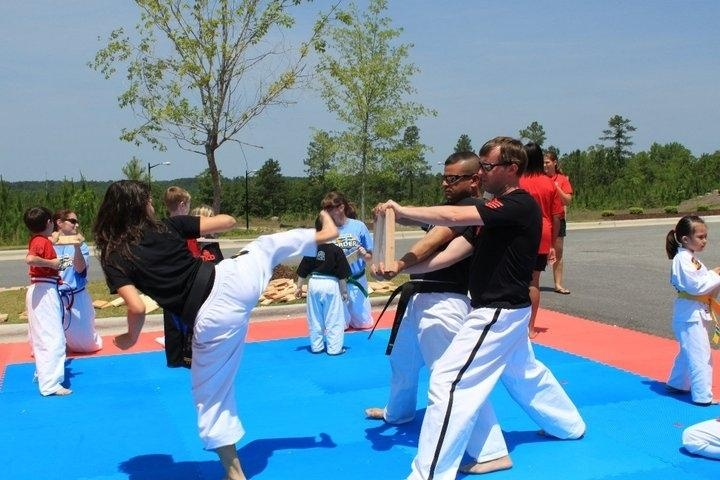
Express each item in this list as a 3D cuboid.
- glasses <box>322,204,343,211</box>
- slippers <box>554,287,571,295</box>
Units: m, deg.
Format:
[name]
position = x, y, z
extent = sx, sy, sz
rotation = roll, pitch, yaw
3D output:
[glasses]
position = -0.418, -0.493, 8.943
extent = 0.172, 0.057, 0.179
rotation = -7, 0, 43
[slippers]
position = 4.263, 1.061, 12.513
extent = 0.142, 0.095, 0.254
rotation = -3, 1, -37
